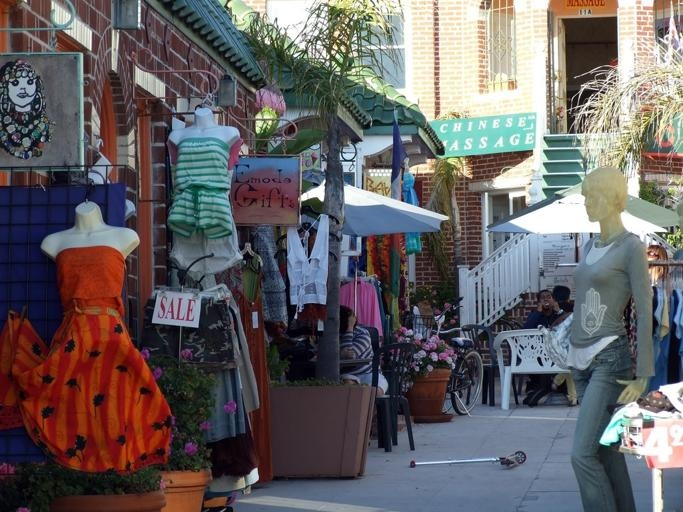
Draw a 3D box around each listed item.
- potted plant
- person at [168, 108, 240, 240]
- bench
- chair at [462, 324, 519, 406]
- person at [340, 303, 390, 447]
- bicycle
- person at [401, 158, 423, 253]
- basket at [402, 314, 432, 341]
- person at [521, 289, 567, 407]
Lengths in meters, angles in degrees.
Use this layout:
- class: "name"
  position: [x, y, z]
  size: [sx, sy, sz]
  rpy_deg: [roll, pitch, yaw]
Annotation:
- class: "potted plant"
  position: [-0.311, 1.501, 13.855]
  size: [1.043, 0.954, 1.082]
  rpy_deg: [-3, 17, -14]
- class: "person"
  position: [-1.168, -0.690, 12.450]
  size: [0.620, 1.115, 0.491]
  rpy_deg: [-2, 4, -2]
- class: "bench"
  position: [2.537, 1.474, 18.923]
  size: [1.033, 1.302, 0.960]
  rpy_deg: [2, 0, -19]
- class: "chair"
  position: [1.876, 1.681, 20.485]
  size: [0.850, 1.442, 0.823]
  rpy_deg: [0, 2, 21]
- class: "person"
  position: [0.136, 1.194, 15.204]
  size: [0.722, 1.287, 0.743]
  rpy_deg: [-1, -4, 22]
- class: "bicycle"
  position: [1.136, 1.433, 18.649]
  size: [0.772, 1.179, 1.859]
  rpy_deg: [-2, -5, 23]
- class: "person"
  position: [0.958, -0.702, 20.725]
  size: [0.280, 1.346, 0.328]
  rpy_deg: [-1, -3, -4]
- class: "basket"
  position: [1.006, 1.023, 20.431]
  size: [0.299, 0.355, 0.314]
  rpy_deg: [0, -6, 1]
- class: "person"
  position: [2.548, 1.085, 19.883]
  size: [0.795, 2.121, 0.856]
  rpy_deg: [-1, -1, 20]
